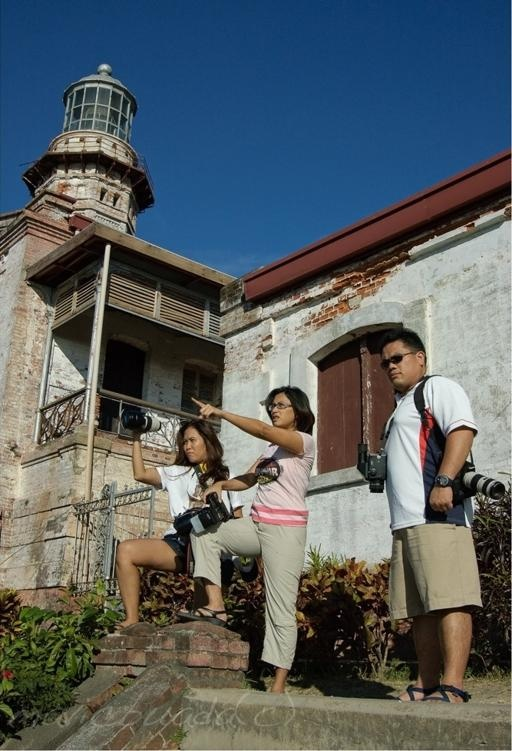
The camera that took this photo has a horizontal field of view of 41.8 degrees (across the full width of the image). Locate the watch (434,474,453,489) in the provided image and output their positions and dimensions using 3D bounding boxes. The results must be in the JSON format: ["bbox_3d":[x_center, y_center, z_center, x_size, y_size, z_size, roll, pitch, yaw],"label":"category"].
[{"bbox_3d":[0.769,0.437,2.754,0.065,0.042,0.069,5,-5,3],"label":"watch"}]

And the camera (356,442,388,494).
[{"bbox_3d":[0.559,0.444,3.292,0.144,0.223,0.113,-2,0,-9],"label":"camera"}]

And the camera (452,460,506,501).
[{"bbox_3d":[0.920,0.456,2.917,0.101,0.161,0.386,-11,1,-9],"label":"camera"}]

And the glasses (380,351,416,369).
[{"bbox_3d":[0.690,-0.077,3.337,0.097,0.029,0.096,-8,-15,-40],"label":"glasses"}]

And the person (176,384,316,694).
[{"bbox_3d":[-0.054,0.824,3.588,0.725,1.666,0.690,6,-23,-1],"label":"person"}]

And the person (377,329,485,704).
[{"bbox_3d":[0.771,0.514,2.956,0.408,1.702,0.697,-3,-18,10],"label":"person"}]
